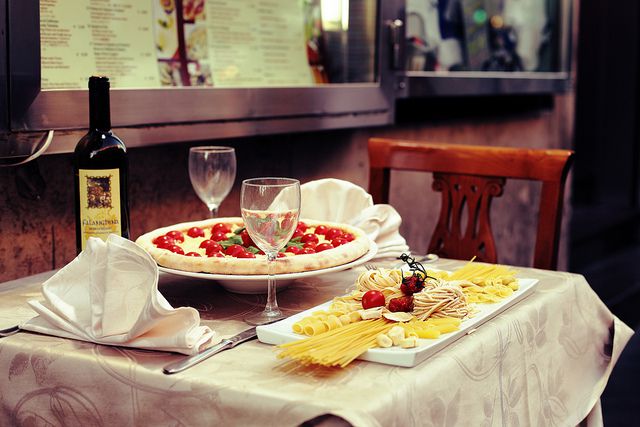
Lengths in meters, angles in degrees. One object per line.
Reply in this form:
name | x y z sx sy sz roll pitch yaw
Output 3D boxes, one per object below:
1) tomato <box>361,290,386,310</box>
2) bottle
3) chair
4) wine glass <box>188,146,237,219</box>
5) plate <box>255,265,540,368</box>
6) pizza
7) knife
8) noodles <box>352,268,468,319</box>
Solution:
tomato | 0.082 0.130 0.757 0.028 0.029 0.028 -4 -1 -1
bottle | -0.391 -0.085 0.956 0.097 0.334 0.104 9 8 -1
chair | 0.390 -0.042 1.425 0.189 0.339 0.579 -14 18 -42
wine glass | -0.248 -0.066 1.179 0.107 0.182 0.090 0 6 -37
plate | 0.158 0.149 0.818 0.534 0.046 0.210 -13 17 -40
pizza | -0.128 0.018 0.965 0.388 0.099 0.196 1 8 -6
knife | -0.141 0.184 0.704 0.170 0.022 0.039 -13 17 -40
noodles | 0.148 0.107 0.784 0.143 0.062 0.185 1 5 -37
